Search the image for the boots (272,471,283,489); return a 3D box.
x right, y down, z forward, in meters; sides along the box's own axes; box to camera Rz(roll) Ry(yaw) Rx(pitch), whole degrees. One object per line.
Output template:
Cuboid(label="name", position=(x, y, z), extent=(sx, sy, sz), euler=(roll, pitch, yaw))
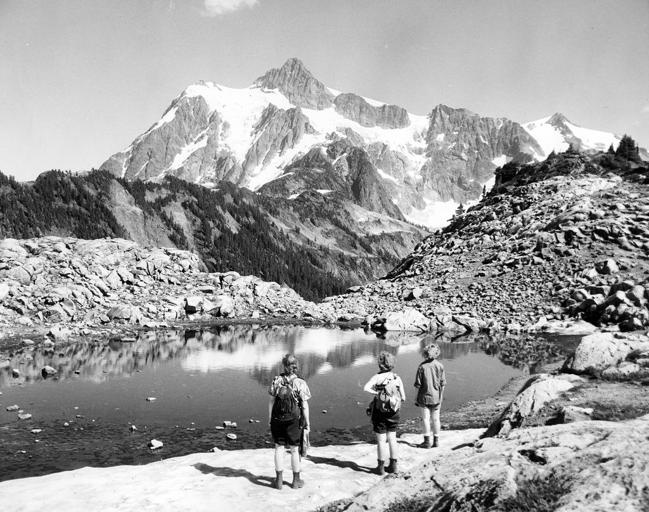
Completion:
Cuboid(label="boots", position=(-1.169, 5.519, 13.066), extent=(0.239, 0.422, 0.598), euler=(1, -2, -6))
